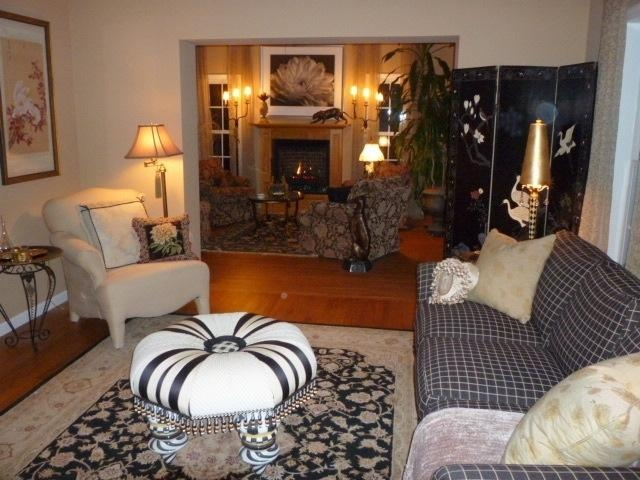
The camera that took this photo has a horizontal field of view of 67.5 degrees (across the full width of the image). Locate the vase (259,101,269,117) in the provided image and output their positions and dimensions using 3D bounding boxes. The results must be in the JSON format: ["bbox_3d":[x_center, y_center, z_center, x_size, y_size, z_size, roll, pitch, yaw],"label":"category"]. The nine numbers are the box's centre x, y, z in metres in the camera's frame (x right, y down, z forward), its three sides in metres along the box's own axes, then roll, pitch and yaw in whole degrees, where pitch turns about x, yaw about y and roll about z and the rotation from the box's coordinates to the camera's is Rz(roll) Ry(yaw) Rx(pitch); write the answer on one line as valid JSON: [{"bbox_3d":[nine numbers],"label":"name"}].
[{"bbox_3d":[-1.085,-2.528,9.325,0.235,0.382,0.247,6,15,17],"label":"vase"}]

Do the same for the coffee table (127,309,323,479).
[{"bbox_3d":[-0.556,0.929,2.913,1.059,0.697,0.725,-6,18,-11],"label":"coffee table"}]

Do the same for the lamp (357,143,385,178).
[{"bbox_3d":[0.841,-1.277,8.057,0.408,0.700,0.398,-8,18,-28],"label":"lamp"}]

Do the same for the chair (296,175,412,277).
[{"bbox_3d":[0.443,-0.348,6.488,1.123,1.077,1.162,9,15,40],"label":"chair"}]

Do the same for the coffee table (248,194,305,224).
[{"bbox_3d":[-0.664,-0.460,7.645,0.724,0.369,0.737,0,17,1],"label":"coffee table"}]

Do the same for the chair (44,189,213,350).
[{"bbox_3d":[-1.812,0.198,4.518,1.154,1.256,1.312,-9,14,-38],"label":"chair"}]
